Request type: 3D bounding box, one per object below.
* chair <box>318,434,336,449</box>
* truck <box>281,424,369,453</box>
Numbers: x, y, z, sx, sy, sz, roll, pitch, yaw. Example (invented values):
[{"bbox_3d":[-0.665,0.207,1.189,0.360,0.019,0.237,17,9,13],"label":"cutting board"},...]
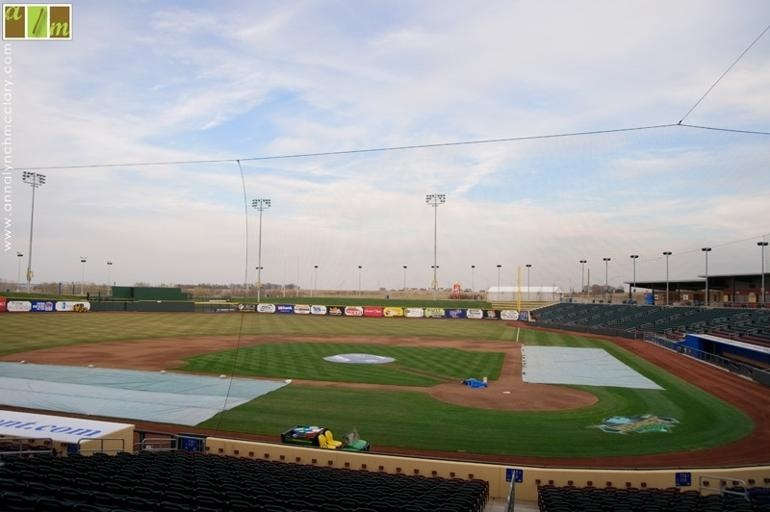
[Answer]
[{"bbox_3d":[-2.494,8.153,25.287,0.833,0.521,0.797,-2,-6,23],"label":"chair"},{"bbox_3d":[-2.730,8.148,25.448,3.624,0.928,1.410,-1,-1,5],"label":"truck"}]
